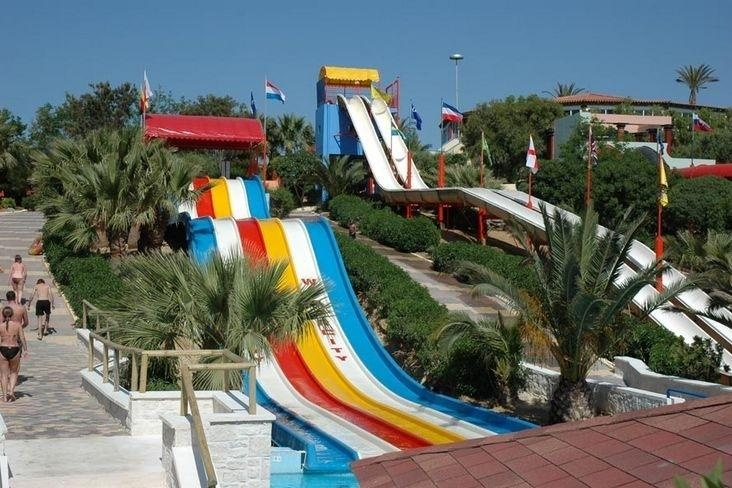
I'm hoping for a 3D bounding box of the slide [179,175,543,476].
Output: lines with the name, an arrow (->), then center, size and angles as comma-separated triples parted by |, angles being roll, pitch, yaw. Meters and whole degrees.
slide -> -1.330, 1.777, 20.391 | 5.281, 4.460, 13.469 | -7, 10, -24
